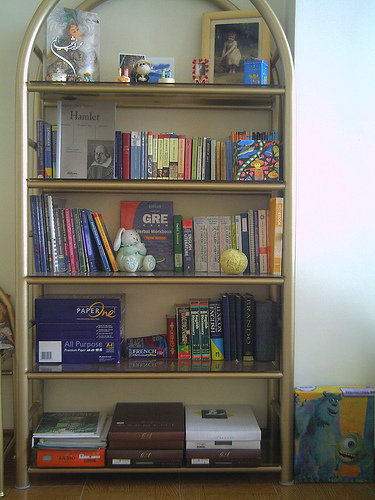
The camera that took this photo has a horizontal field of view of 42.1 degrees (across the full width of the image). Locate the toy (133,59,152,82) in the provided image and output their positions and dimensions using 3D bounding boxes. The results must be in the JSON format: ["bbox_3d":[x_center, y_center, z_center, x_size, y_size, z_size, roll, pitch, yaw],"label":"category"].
[{"bbox_3d":[-0.163,-0.633,1.745,0.077,0.103,0.074,1,-2,-3],"label":"toy"}]

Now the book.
[{"bbox_3d":[-0.124,-0.035,1.791,0.962,0.891,0.339,0,2,-1],"label":"book"}]

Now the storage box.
[{"bbox_3d":[-0.393,0.271,1.738,0.256,0.193,0.252,0,-3,-3],"label":"storage box"}]
